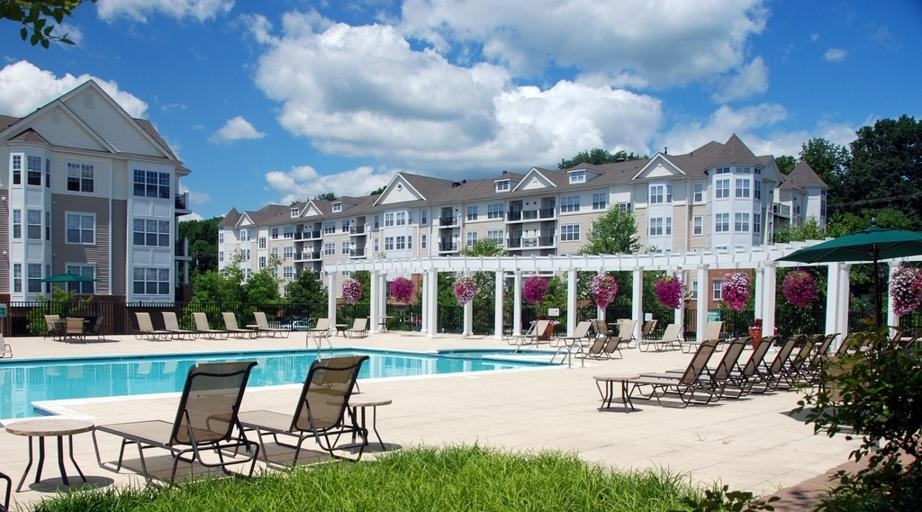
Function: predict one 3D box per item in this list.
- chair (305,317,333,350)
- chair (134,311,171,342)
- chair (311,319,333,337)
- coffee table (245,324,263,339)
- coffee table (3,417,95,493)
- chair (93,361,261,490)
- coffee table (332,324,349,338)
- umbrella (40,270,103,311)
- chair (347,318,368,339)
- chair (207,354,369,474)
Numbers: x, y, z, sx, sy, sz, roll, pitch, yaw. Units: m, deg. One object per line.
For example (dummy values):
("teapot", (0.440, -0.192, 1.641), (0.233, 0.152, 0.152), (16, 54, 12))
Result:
("chair", (-7.666, 4.237, 42.028), (1.573, 1.466, 2.360), (-1, -1, 6))
("chair", (-16.486, 3.741, 41.895), (1.751, 1.458, 2.764), (2, -6, -20))
("chair", (-7.799, 4.045, 43.931), (0.954, 0.924, 1.446), (-2, -7, 9))
("coffee table", (-11.837, 4.286, 44.461), (0.788, 0.508, 0.757), (0, -4, 9))
("coffee table", (-10.222, 5.023, 19.405), (2.117, 1.426, 2.047), (4, -11, -26))
("chair", (-7.561, 4.255, 20.498), (4.815, 2.803, 2.416), (-4, -6, 39))
("coffee table", (-6.902, 4.281, 44.853), (0.855, 0.579, 0.806), (0, -10, -11))
("umbrella", (-23.558, 1.869, 47.625), (3.081, 1.905, 2.931), (-1, -3, -1))
("chair", (-5.956, 4.172, 45.345), (0.953, 0.874, 1.370), (-1, -4, 15))
("chair", (-4.699, 4.125, 20.831), (4.424, 2.607, 2.170), (-8, -7, 36))
